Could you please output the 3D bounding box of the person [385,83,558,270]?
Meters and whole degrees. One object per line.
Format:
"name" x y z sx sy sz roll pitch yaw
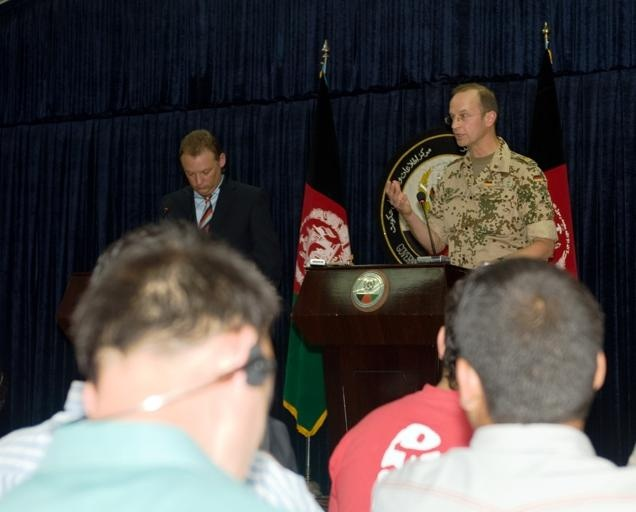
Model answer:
"person" 0.694 -0.093 3.538 0.585 1.261 0.469 -5 -3 34
